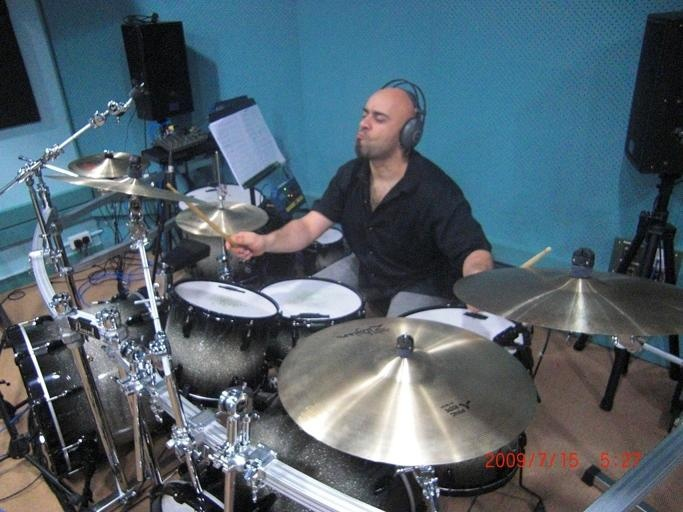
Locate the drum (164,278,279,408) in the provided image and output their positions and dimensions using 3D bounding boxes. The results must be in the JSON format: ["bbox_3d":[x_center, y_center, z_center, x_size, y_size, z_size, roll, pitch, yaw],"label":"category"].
[{"bbox_3d":[-0.590,0.413,2.707,0.481,0.386,0.499,10,13,-3],"label":"drum"}]

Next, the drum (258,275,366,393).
[{"bbox_3d":[-0.157,0.337,2.823,0.448,0.353,0.486,3,27,-2],"label":"drum"}]

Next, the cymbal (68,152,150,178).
[{"bbox_3d":[-1.574,-0.612,3.548,0.376,0.144,0.584,-10,23,-25],"label":"cymbal"}]

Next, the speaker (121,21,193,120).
[{"bbox_3d":[-1.416,-1.421,4.217,0.463,0.764,0.317,-6,22,-16],"label":"speaker"}]

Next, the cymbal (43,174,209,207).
[{"bbox_3d":[-1.344,-0.400,3.300,0.481,0.115,0.459,16,10,1],"label":"cymbal"}]

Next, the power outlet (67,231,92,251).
[{"bbox_3d":[-2.260,-0.137,4.662,0.044,0.100,0.152,7,20,28],"label":"power outlet"}]

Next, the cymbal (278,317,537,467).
[{"bbox_3d":[0.222,0.398,1.957,0.863,0.205,0.894,-6,8,8],"label":"cymbal"}]

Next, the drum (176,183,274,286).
[{"bbox_3d":[-0.739,-0.071,3.421,0.622,0.660,0.607,1,45,-8],"label":"drum"}]

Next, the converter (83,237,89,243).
[{"bbox_3d":[-2.216,-0.149,4.715,0.010,0.043,0.043,1,46,53],"label":"converter"}]

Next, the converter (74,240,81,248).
[{"bbox_3d":[-2.256,-0.106,4.646,0.044,0.062,0.015,2,10,-21],"label":"converter"}]
